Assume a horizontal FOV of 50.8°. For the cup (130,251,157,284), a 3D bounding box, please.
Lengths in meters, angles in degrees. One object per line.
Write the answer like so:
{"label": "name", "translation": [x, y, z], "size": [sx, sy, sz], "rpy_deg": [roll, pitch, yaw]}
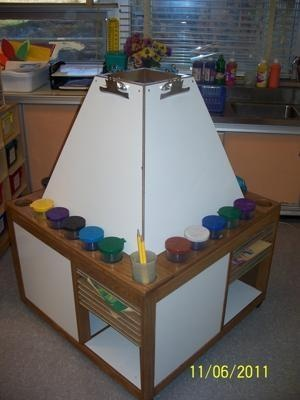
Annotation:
{"label": "cup", "translation": [-0.023, 0.185, 0.908], "size": [0.079, 0.076, 0.077], "rpy_deg": [-2, 18, 1]}

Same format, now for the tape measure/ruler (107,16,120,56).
{"label": "tape measure/ruler", "translation": [-0.328, -1.450, 2.775], "size": [0.107, 0.256, 0.083], "rpy_deg": [0, 25, 2]}

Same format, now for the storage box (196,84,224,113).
{"label": "storage box", "translation": [0.524, -0.857, 2.664], "size": [0.184, 0.194, 0.362], "rpy_deg": [-3, 25, -4]}

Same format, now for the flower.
{"label": "flower", "translation": [-0.051, -1.277, 2.706], "size": [0.395, 0.276, 0.397], "rpy_deg": [24, 41, 34]}

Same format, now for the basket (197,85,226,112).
{"label": "basket", "translation": [0.525, -0.866, 2.682], "size": [0.186, 0.193, 0.402], "rpy_deg": [-3, 25, -5]}

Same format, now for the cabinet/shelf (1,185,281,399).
{"label": "cabinet/shelf", "translation": [0.076, 0.395, 1.528], "size": [0.924, 0.551, 0.926], "rpy_deg": [29, 41, 36]}

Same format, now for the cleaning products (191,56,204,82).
{"label": "cleaning products", "translation": [0.446, -1.205, 2.936], "size": [0.108, 0.186, 0.175], "rpy_deg": [0, 25, 1]}
